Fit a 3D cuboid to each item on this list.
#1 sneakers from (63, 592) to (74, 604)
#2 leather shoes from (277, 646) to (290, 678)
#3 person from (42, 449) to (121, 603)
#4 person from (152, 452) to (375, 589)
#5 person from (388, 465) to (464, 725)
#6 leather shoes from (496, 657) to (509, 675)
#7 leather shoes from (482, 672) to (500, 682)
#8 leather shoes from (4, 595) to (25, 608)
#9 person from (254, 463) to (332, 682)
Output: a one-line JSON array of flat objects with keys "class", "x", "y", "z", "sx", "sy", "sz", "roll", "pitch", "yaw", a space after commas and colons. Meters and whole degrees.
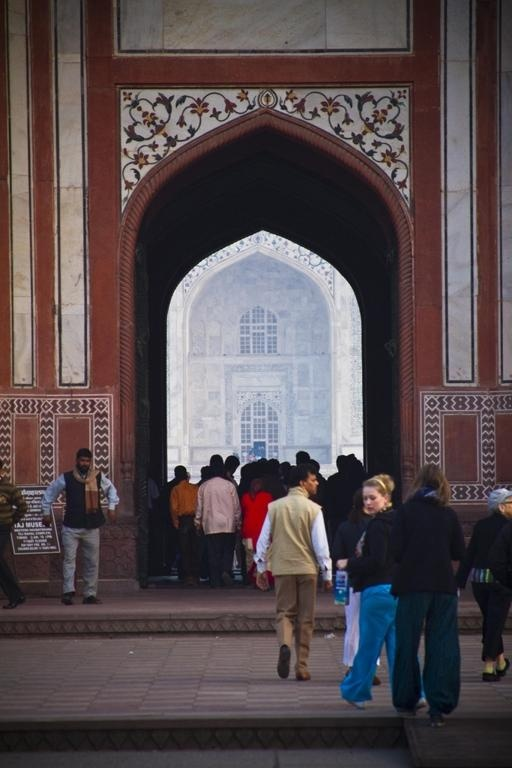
[{"class": "sneakers", "x": -1.303, "y": 1.485, "z": 12.289, "sx": 0.039, "sy": 0.096, "sz": 0.123, "roll": 1, "pitch": -6, "yaw": 6}, {"class": "leather shoes", "x": 0.157, "y": 1.588, "z": 10.192, "sx": 0.055, "sy": 0.199, "sz": 0.076, "roll": 1, "pitch": 3, "yaw": 4}, {"class": "person", "x": -1.256, "y": 0.993, "z": 12.567, "sx": 0.520, "sy": 1.069, "sz": 0.766, "roll": -1, "pitch": -3, "yaw": 2}, {"class": "person", "x": 0.455, "y": 1.074, "z": 13.642, "sx": 1.562, "sy": 1.099, "sz": 1.178, "roll": -1, "pitch": 2, "yaw": -12}, {"class": "person", "x": 0.907, "y": 1.093, "z": 9.366, "sx": 0.383, "sy": 1.331, "sz": 0.239, "roll": -1, "pitch": -3, "yaw": 7}, {"class": "leather shoes", "x": 1.451, "y": 1.657, "z": 10.406, "sx": 0.050, "sy": 0.099, "sz": 0.233, "roll": -1, "pitch": -3, "yaw": 15}, {"class": "leather shoes", "x": 1.364, "y": 1.686, "z": 10.261, "sx": 0.126, "sy": 0.057, "sz": 0.096, "roll": 0, "pitch": -3, "yaw": -18}, {"class": "leather shoes", "x": -1.672, "y": 1.491, "z": 12.129, "sx": 0.166, "sy": 0.098, "sz": 0.069, "roll": -8, "pitch": 1, "yaw": 3}, {"class": "person", "x": 0.209, "y": 1.101, "z": 10.451, "sx": 0.403, "sy": 1.237, "sz": 0.548, "roll": 0, "pitch": -3, "yaw": -8}]
